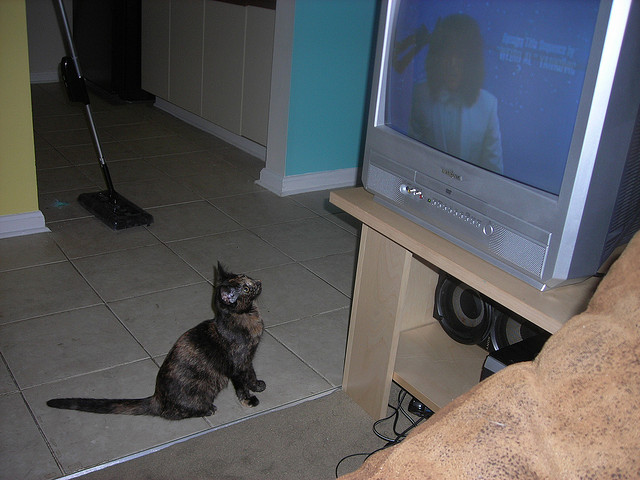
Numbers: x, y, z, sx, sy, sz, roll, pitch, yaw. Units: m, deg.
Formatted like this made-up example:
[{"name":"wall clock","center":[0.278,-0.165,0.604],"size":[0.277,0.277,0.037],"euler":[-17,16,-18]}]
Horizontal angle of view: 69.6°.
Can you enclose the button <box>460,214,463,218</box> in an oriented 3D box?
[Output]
[{"name":"button","center":[0.334,-0.058,1.076],"size":[0.002,0.009,0.009],"euler":[2,2,-32]}]

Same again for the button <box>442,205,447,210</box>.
[{"name":"button","center":[0.304,-0.080,1.113],"size":[0.002,0.008,0.009],"euler":[2,-1,-45]}]

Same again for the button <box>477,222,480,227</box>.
[{"name":"button","center":[0.362,-0.036,1.038],"size":[0.006,0.006,0.003],"euler":[8,15,38]}]

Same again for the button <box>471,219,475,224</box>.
[{"name":"button","center":[0.352,-0.044,1.051],"size":[0.003,0.012,0.013],"euler":[1,3,-43]}]

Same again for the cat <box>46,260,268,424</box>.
[{"name":"cat","center":[-0.636,0.399,1.753],"size":[0.616,0.419,0.177],"euler":[-15,45,-22]}]

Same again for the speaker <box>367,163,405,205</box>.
[{"name":"speaker","center":[0.186,-0.160,1.260],"size":[0.096,0.065,0.050],"euler":[34,54,29]}]
